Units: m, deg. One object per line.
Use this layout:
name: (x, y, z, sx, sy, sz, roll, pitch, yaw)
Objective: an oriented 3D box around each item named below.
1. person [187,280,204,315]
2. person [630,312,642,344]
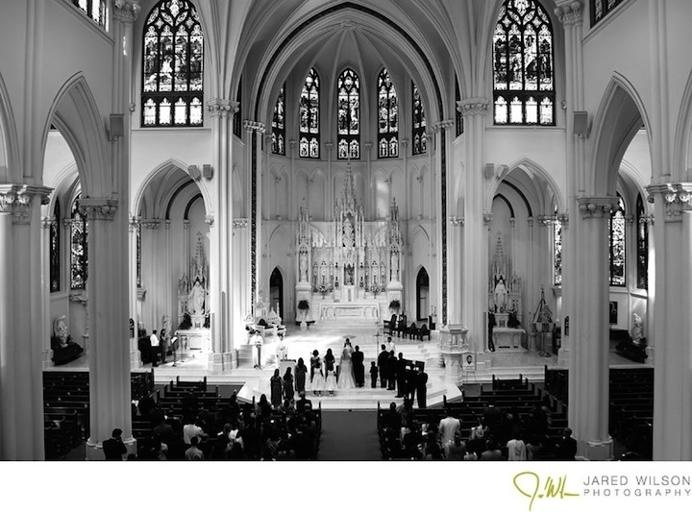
person: (-6.486, 1.766, 31.742, 0.595, 1.470, 1.103, 0, -4, -28)
person: (12.118, 2.958, 30.286, 0.499, 1.132, 1.283, -3, -3, 22)
